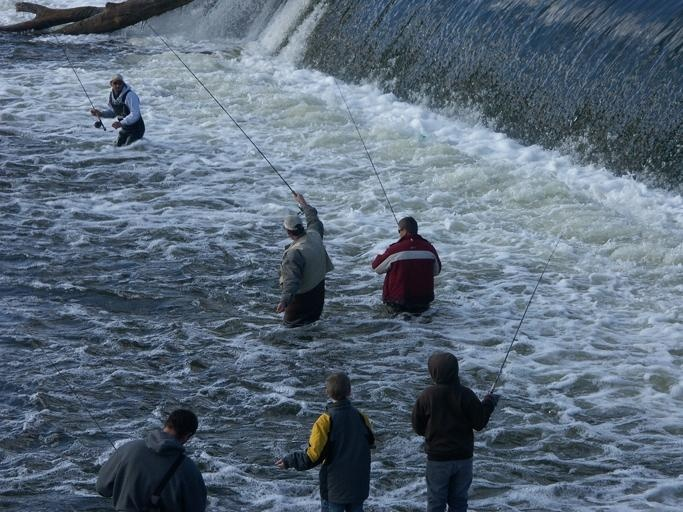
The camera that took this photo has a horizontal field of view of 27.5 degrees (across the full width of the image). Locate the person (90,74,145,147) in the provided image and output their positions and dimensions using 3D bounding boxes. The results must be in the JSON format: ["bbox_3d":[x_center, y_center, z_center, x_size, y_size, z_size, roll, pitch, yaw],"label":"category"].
[{"bbox_3d":[-3.833,-2.508,24.231,0.837,1.384,0.991,17,19,-3],"label":"person"}]

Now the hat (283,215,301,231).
[{"bbox_3d":[-0.746,-0.458,19.740,0.191,0.232,0.235,-1,25,-43],"label":"hat"}]

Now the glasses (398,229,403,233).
[{"bbox_3d":[0.784,-0.354,20.094,0.042,0.054,0.036,58,8,-23],"label":"glasses"}]
